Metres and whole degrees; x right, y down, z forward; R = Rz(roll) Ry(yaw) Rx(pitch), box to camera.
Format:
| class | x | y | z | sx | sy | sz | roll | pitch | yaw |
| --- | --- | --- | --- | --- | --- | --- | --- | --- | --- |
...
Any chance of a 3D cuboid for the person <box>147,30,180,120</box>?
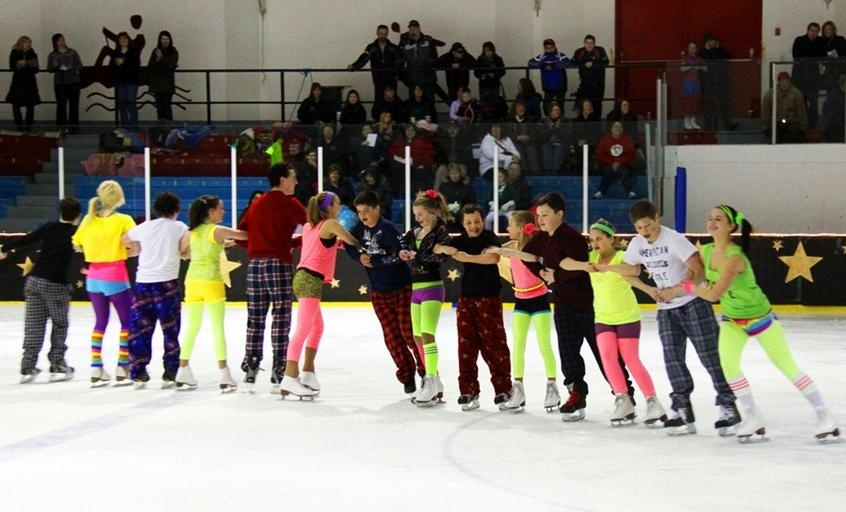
| class | x | y | z | sx | sy | sz | roll | pitch | yaw |
| --- | --- | --- | --- | --- | --- | --- | --- | --- | --- |
| person | -6.088 | -4.187 | 21.364 | 0.668 | 2.061 | 1.462 | -5 | 15 | -15 |

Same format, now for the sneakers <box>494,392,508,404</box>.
| class | x | y | z | sx | sy | sz | roll | pitch | yaw |
| --- | --- | --- | --- | --- | --- | --- | --- | --- | --- |
| sneakers | 0.945 | 1.720 | 11.015 | 0.153 | 0.111 | 0.101 | -11 | -5 | 27 |

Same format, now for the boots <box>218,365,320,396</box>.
| class | x | y | z | sx | sy | sz | roll | pitch | yaw |
| --- | --- | --- | --- | --- | --- | --- | --- | --- | --- |
| boots | -1.898 | 1.596 | 11.609 | 1.102 | 0.453 | 0.359 | -1 | -2 | 5 |

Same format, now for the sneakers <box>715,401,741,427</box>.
| class | x | y | z | sx | sy | sz | roll | pitch | yaw |
| --- | --- | --- | --- | --- | --- | --- | --- | --- | --- |
| sneakers | 3.432 | 1.800 | 10.276 | 0.210 | 0.220 | 0.325 | -6 | -19 | 10 |

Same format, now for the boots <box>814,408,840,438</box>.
| class | x | y | z | sx | sy | sz | roll | pitch | yaw |
| --- | --- | --- | --- | --- | --- | --- | --- | --- | --- |
| boots | 4.524 | 1.871 | 10.159 | 0.296 | 0.343 | 0.175 | 2 | 15 | 11 |

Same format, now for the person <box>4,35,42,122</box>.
| class | x | y | z | sx | sy | sz | roll | pitch | yaw |
| --- | --- | --- | --- | --- | --- | --- | --- | --- | --- |
| person | -9.286 | -4.044 | 21.107 | 0.761 | 1.954 | 0.724 | -7 | 16 | -22 |
